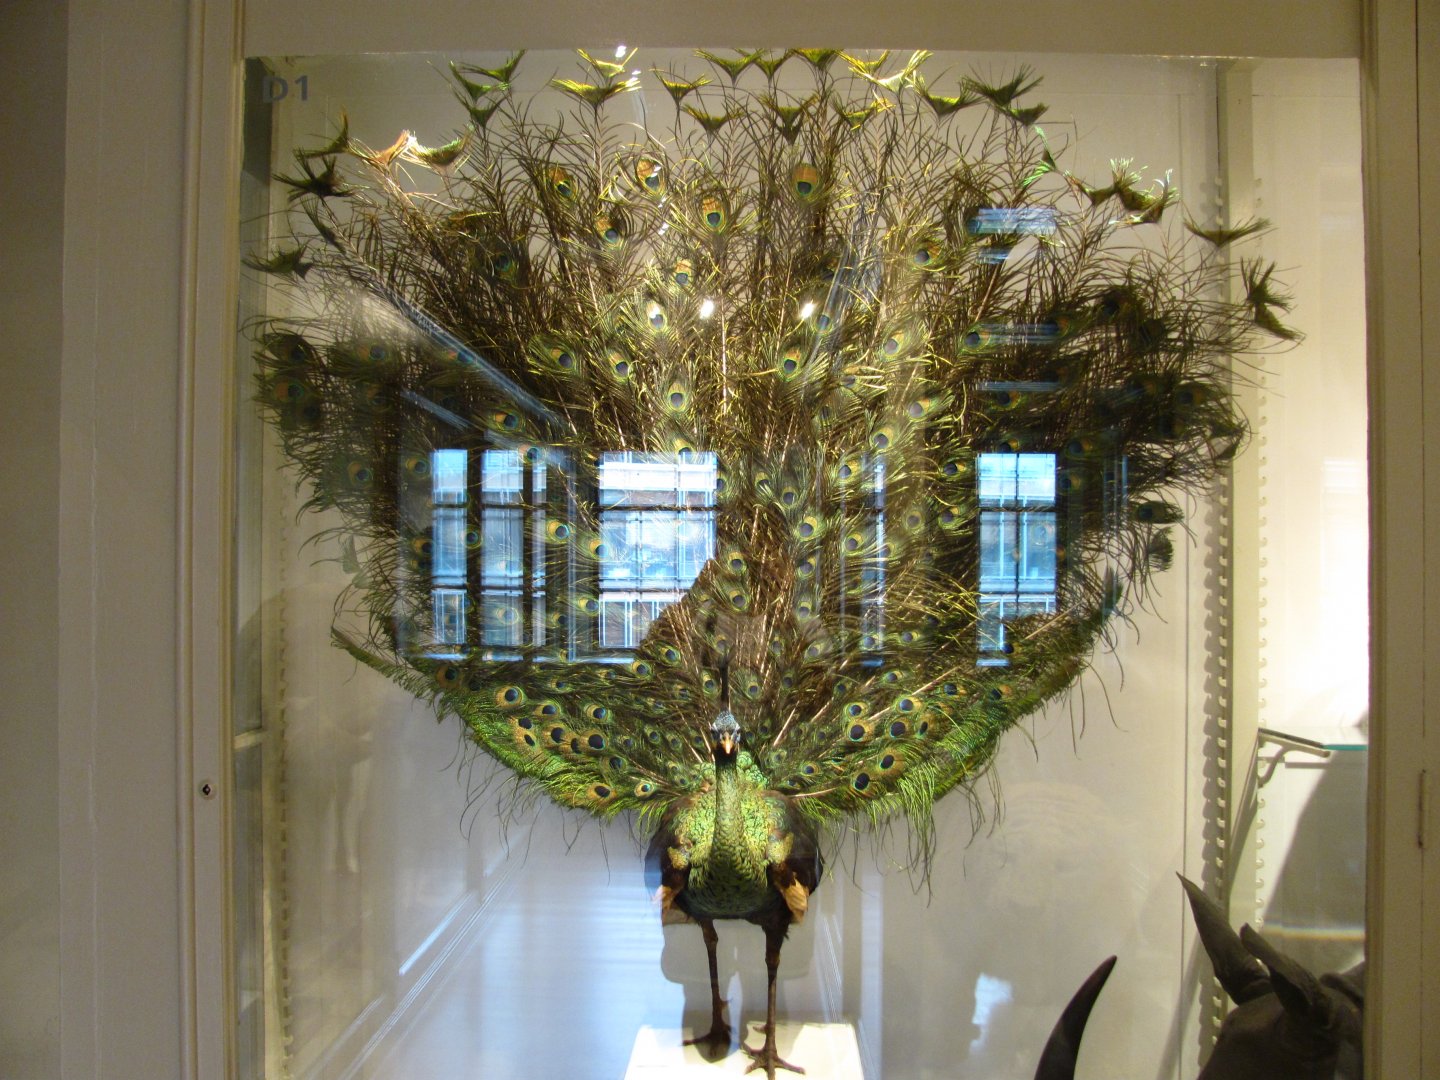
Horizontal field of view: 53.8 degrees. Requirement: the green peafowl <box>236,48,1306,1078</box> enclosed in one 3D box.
[{"bbox_3d":[0.163,-0.035,2.946,1.999,2.113,0.409,0,2,0],"label":"green peafowl"}]
